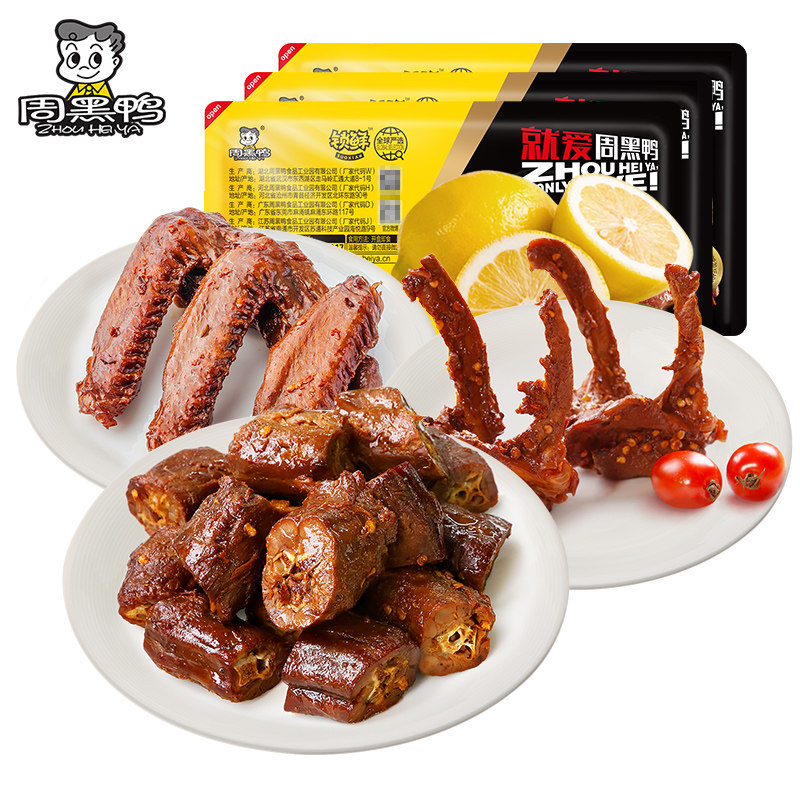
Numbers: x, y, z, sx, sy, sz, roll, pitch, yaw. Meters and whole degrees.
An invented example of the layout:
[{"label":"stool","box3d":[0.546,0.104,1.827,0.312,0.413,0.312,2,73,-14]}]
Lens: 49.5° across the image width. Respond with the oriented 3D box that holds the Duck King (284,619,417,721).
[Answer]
[{"label":"Duck King","box3d":[-0.149,0.891,2.896,0.312,0.217,0.398,5,9,36]}]
